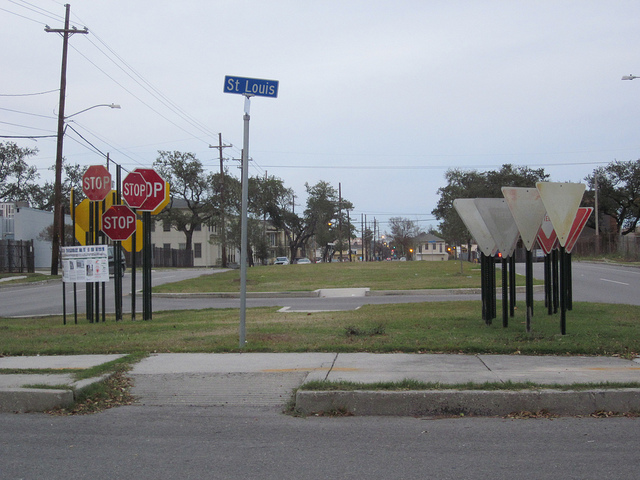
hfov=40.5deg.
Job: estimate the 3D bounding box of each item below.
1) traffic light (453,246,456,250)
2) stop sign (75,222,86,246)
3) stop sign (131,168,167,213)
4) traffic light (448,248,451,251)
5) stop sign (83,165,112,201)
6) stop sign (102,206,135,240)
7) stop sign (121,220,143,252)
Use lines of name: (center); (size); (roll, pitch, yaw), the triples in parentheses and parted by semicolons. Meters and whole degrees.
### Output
traffic light: (12.052, 0.672, 77.250); (0.294, 0.314, 0.555); (-3, -6, 6)
stop sign: (-6.300, -0.195, 22.785); (0.073, 0.580, 0.538); (-11, 8, -16)
stop sign: (-4.425, -1.303, 22.393); (1.264, 1.153, 0.147); (4, 6, 37)
traffic light: (9.212, 0.620, 61.209); (0.211, 0.175, 0.244); (0, -4, -12)
stop sign: (-5.733, -1.458, 22.265); (0.705, 0.917, 0.415); (-5, 12, -16)
stop sign: (-5.115, -0.460, 22.084); (0.779, 0.831, 0.110); (-1, 3, -1)
stop sign: (-4.964, -0.130, 22.855); (0.754, 0.791, 0.099); (-4, 6, -41)
